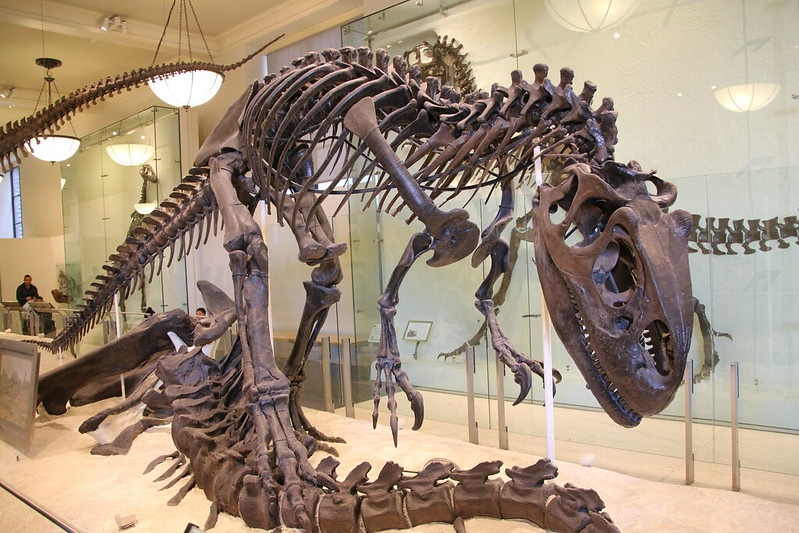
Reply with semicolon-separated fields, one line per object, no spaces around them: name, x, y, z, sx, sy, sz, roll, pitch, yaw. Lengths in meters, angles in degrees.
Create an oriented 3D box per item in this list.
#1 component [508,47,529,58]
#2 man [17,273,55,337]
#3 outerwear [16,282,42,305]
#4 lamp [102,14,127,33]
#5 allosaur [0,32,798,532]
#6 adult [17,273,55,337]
component;1.186;-2.140;6.111;0.126;0.069;0.028;5;43;46
man;-6.536;0.729;10.786;0.331;1.075;0.296;-2;8;-28
outerwear;-6.598;0.482;10.855;0.445;0.422;0.336;9;13;42
lamp;-4.361;-3.734;9.348;0.350;0.226;0.382;0;0;-25
allosaur;-1.162;-0.280;6.647;8.305;3.885;3.021;11;14;35
adult;-6.539;0.731;10.780;0.328;1.083;0.312;-1;7;-31
